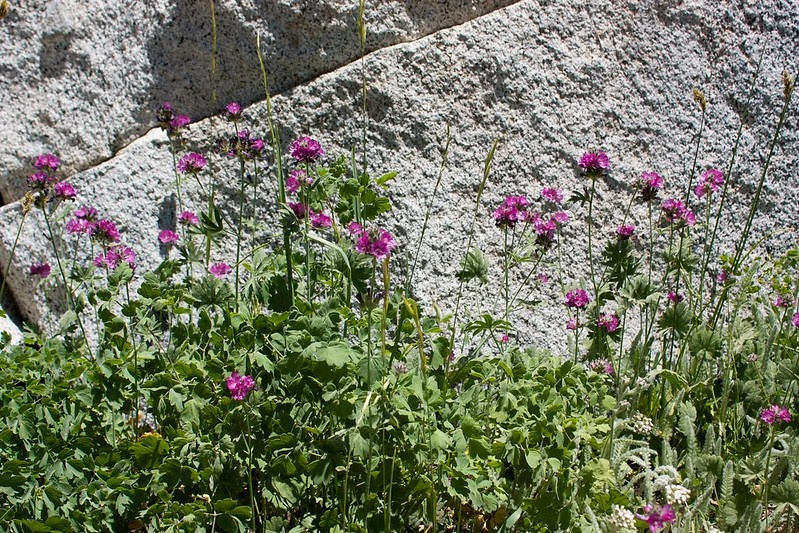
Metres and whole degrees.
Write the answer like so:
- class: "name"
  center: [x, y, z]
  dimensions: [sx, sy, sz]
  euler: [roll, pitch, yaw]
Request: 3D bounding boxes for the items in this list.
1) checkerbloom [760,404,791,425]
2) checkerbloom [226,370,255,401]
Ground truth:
- class: "checkerbloom"
  center: [1.934, 0.764, 6.861]
  dimensions: [0.111, 0.123, 0.116]
  euler: [7, 36, 28]
- class: "checkerbloom"
  center: [-0.757, 0.579, 6.360]
  dimensions: [0.131, 0.144, 0.109]
  euler: [-12, 18, -38]
